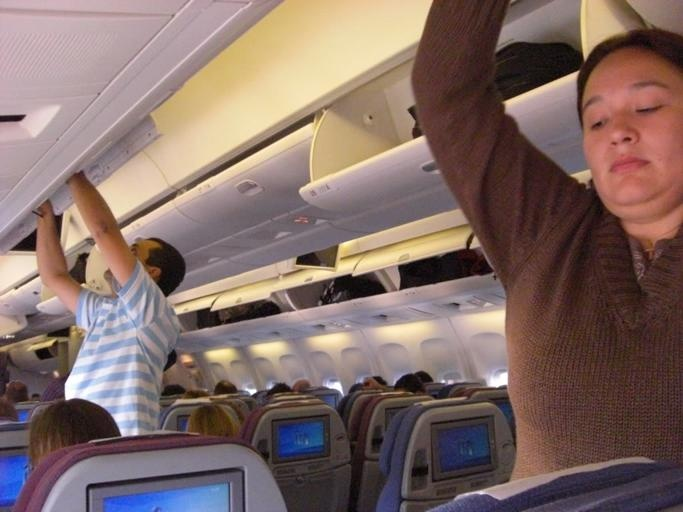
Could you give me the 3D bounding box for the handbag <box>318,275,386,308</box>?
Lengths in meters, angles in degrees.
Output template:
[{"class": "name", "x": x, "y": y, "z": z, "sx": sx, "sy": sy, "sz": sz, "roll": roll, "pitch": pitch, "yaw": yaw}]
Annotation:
[{"class": "handbag", "x": 0.111, "y": 0.676, "z": 9.139, "sx": 1.064, "sy": 0.356, "sz": 0.589, "roll": -12, "pitch": -6, "yaw": 41}]
